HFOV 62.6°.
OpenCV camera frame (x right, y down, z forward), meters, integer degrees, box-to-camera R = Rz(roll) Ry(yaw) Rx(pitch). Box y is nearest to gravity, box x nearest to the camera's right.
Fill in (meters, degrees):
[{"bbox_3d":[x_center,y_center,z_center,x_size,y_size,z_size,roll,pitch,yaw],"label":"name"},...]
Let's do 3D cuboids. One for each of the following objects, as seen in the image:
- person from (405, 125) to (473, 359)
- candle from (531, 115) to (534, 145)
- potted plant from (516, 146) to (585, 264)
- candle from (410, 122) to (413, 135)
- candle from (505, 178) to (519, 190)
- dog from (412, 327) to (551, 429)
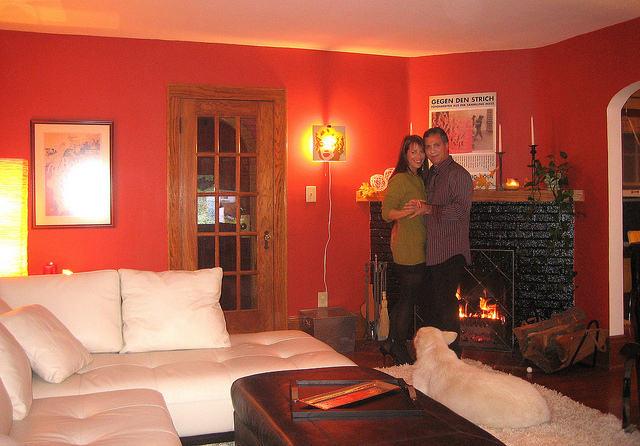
[{"bbox_3d":[1.000,0.146,4.398,0.461,1.875,0.372,1,4,40],"label":"person"},{"bbox_3d":[2.138,-0.925,5.301,0.020,0.284,0.317,0,4,22],"label":"candle"},{"bbox_3d":[2.337,-0.199,5.319,0.459,1.168,0.642,2,5,44],"label":"potted plant"},{"bbox_3d":[1.001,-1.053,5.824,0.028,0.118,0.064,0,4,24],"label":"candle"},{"bbox_3d":[1.928,-0.382,5.298,0.131,0.115,0.214,-1,4,18],"label":"candle"},{"bbox_3d":[0.954,1.134,3.452,0.880,0.380,0.486,25,44,31],"label":"dog"}]
